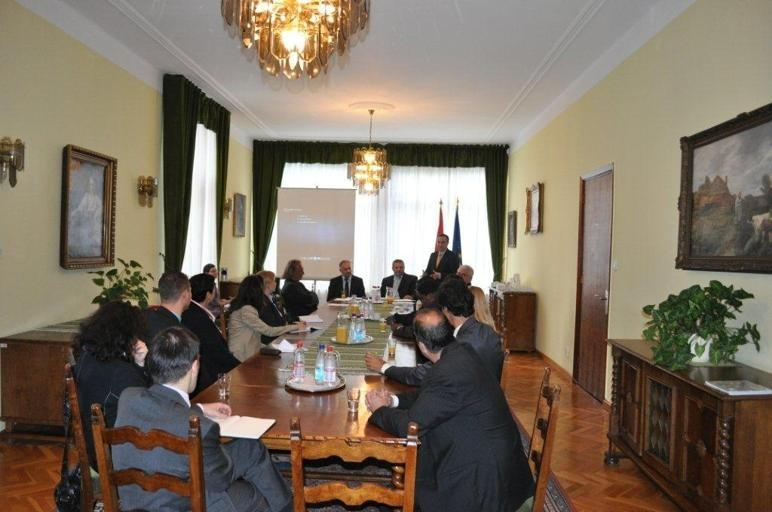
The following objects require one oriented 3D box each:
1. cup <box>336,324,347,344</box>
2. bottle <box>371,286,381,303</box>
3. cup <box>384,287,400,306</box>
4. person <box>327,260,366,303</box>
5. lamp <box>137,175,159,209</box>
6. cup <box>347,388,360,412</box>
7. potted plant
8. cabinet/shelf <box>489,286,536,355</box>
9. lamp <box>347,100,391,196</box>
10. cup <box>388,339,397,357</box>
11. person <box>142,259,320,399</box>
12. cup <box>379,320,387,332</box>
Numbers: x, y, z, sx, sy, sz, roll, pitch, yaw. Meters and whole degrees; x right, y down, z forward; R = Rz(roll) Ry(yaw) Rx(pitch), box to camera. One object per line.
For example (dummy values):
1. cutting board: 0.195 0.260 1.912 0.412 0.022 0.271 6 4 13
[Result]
1. cup: -0.429 0.770 5.155 0.144 0.255 0.142 0 -5 0
2. bottle: -0.162 0.604 8.195 0.177 0.362 0.197 -2 -3 13
3. cup: 0.089 0.627 8.172 0.233 0.262 0.145 7 -9 -36
4. person: -0.696 0.466 9.137 0.738 1.129 0.615 0 -11 -4
5. lamp: -3.289 -0.892 7.251 0.139 0.390 0.337 2 0 9
6. cup: -0.243 1.055 3.809 0.085 0.150 0.092 -1 0 0
7. potted plant: 2.782 0.619 4.524 0.738 0.637 0.863 -11 10 -27
8. cabinet/shelf: 2.460 1.200 10.444 0.592 1.198 1.787 1 2 1
9. lamp: -0.296 -2.002 9.926 0.639 1.764 0.695 2 -2 -3
10. cup: 0.059 0.865 4.877 0.079 0.147 0.086 -1 1 0
11. person: -1.364 0.682 4.981 0.875 1.703 1.276 2 6 15
12. cup: -0.026 0.775 5.821 0.098 0.168 0.099 0 -10 0
